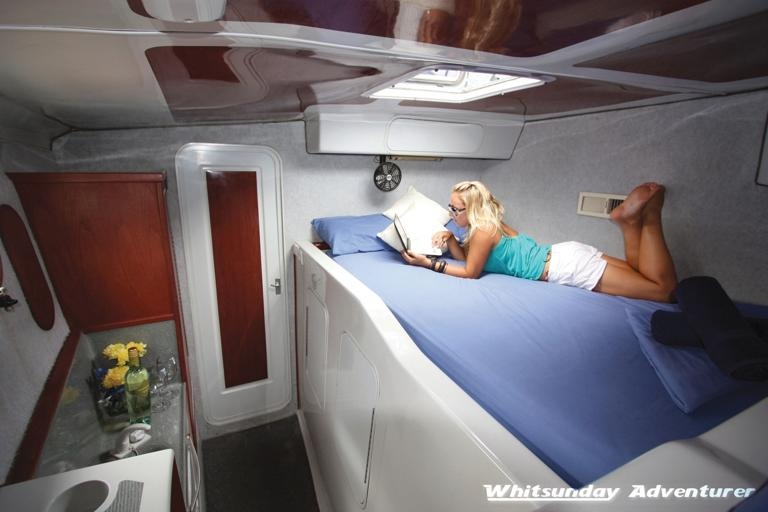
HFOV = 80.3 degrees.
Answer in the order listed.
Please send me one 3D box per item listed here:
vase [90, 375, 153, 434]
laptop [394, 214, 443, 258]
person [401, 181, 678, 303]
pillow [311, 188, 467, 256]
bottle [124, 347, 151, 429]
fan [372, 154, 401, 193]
[{"bbox_3d":[-1.506,0.749,2.499,0.221,0.269,0.370,1,11,-33],"label":"vase"},{"bbox_3d":[0.221,-0.138,3.110,0.264,0.094,0.375,5,39,-11],"label":"laptop"},{"bbox_3d":[0.974,-0.146,2.913,1.611,0.647,0.512,6,13,13],"label":"person"},{"bbox_3d":[0.001,-0.227,3.380,0.749,0.254,0.608,-6,36,-35],"label":"pillow"},{"bbox_3d":[-1.277,0.691,2.359,0.146,0.410,0.145,-1,9,0],"label":"bottle"},{"bbox_3d":[0.052,-0.685,3.697,0.208,0.273,0.070,-13,23,-26],"label":"fan"}]
